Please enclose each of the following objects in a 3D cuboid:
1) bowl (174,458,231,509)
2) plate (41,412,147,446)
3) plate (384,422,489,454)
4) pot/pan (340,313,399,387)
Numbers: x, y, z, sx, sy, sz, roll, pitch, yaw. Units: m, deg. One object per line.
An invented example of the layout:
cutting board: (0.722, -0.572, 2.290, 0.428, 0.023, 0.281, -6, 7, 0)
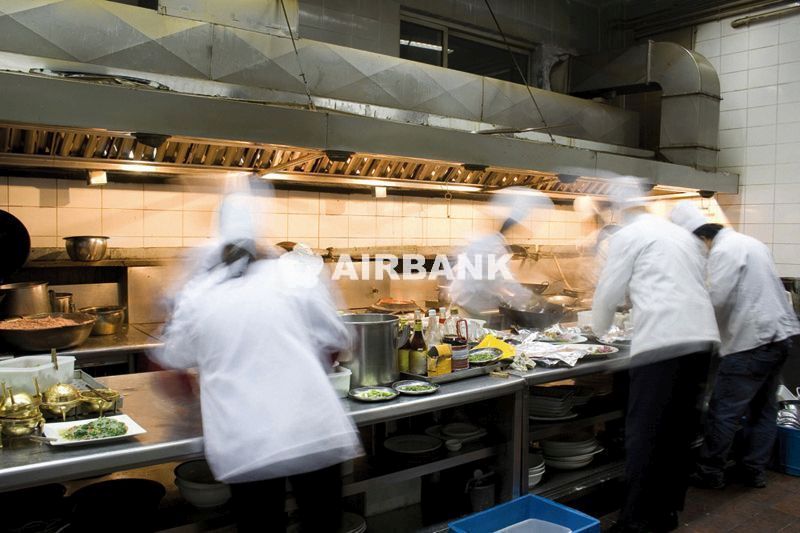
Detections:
bowl: (-1.092, 1.188, 3.125, 0.326, 0.110, 0.284, 2, -5, 8)
plate: (-1.455, 0.783, 2.653, 0.291, 0.031, 0.190, -1, 6, -20)
plate: (0.236, 1.107, 3.616, 0.255, 0.041, 0.348, -3, 4, 42)
pot/pan: (-0.129, 0.484, 3.387, 0.478, 0.381, 0.422, 1, 3, 20)
